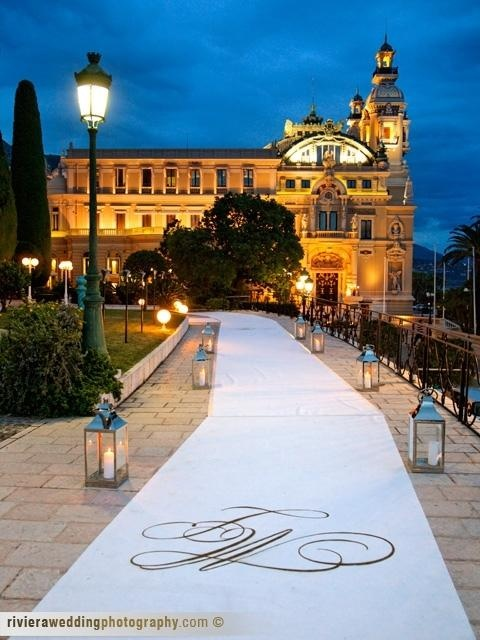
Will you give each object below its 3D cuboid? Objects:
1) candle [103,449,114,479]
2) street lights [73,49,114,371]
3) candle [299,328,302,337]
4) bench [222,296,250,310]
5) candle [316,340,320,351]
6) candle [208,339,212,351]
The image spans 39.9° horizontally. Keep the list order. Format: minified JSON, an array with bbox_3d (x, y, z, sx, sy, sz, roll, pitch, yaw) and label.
[{"bbox_3d":[-1.249,1.372,6.308,0.144,0.301,0.035,3,5,25],"label":"candle"},{"bbox_3d":[-2.038,-1.562,9.298,0.444,4.257,0.919,0,4,-11],"label":"street lights"},{"bbox_3d":[1.821,0.384,19.747,0.137,0.277,0.078,1,4,10],"label":"candle"},{"bbox_3d":[-0.128,-1.060,40.687,1.675,0.743,3.888,1,5,1],"label":"bench"},{"bbox_3d":[1.930,0.645,16.514,0.139,0.269,0.070,0,4,-2],"label":"candle"},{"bbox_3d":[-0.742,0.602,16.164,0.115,0.357,0.267,0,4,-8],"label":"candle"}]
